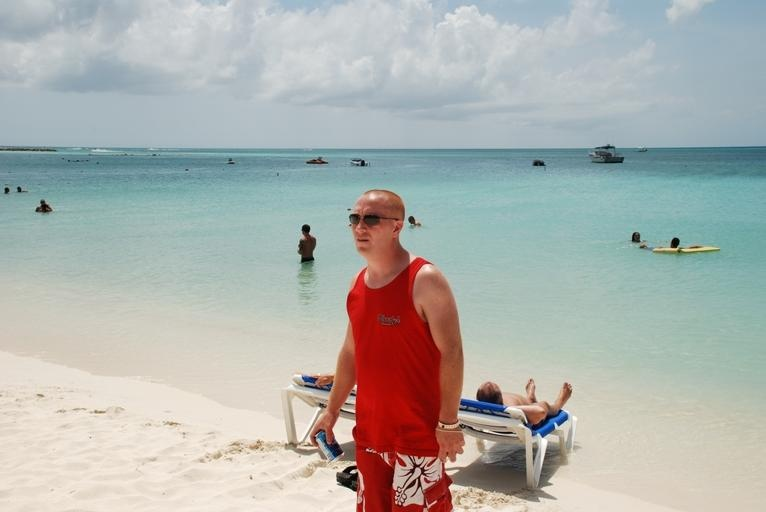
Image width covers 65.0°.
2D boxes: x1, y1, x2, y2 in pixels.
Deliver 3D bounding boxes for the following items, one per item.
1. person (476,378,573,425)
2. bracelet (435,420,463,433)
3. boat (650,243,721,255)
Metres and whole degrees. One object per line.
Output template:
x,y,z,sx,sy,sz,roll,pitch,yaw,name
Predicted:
2.332,2.252,9.375,0.720,0.503,1.567,0,-10,34,person
0.617,1.582,5.575,0.233,0.127,0.104,-1,15,-3,bracelet
11.667,-0.246,23.000,2.624,0.302,0.926,-5,14,-20,boat
